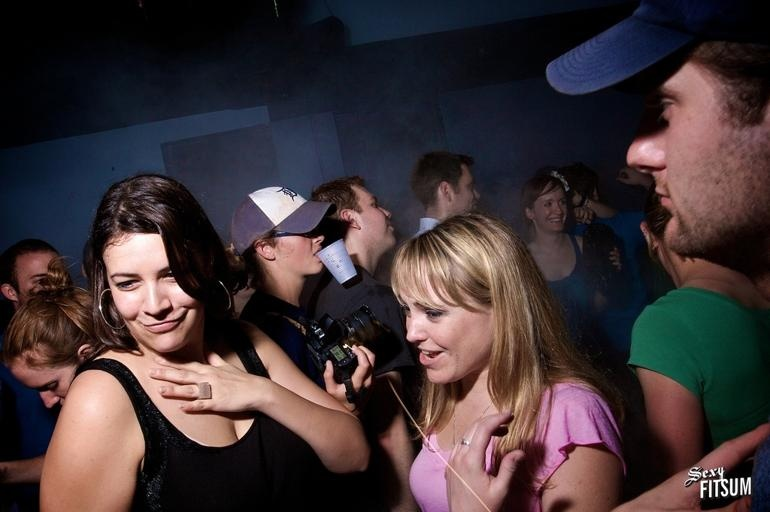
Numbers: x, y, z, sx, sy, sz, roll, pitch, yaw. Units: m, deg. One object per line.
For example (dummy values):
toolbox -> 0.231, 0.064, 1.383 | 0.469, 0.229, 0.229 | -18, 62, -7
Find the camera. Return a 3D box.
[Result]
camera -> -0.191, 0.420, 2.783 | 0.336, 0.332, 0.199 | -34, -25, -18

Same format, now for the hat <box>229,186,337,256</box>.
hat -> -0.645, -0.218, 3.215 | 0.497, 0.262, 0.372 | -25, 5, 6

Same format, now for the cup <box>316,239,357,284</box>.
cup -> -0.233, 0.006, 3.250 | 0.241, 0.260, 0.246 | -38, 4, 3
